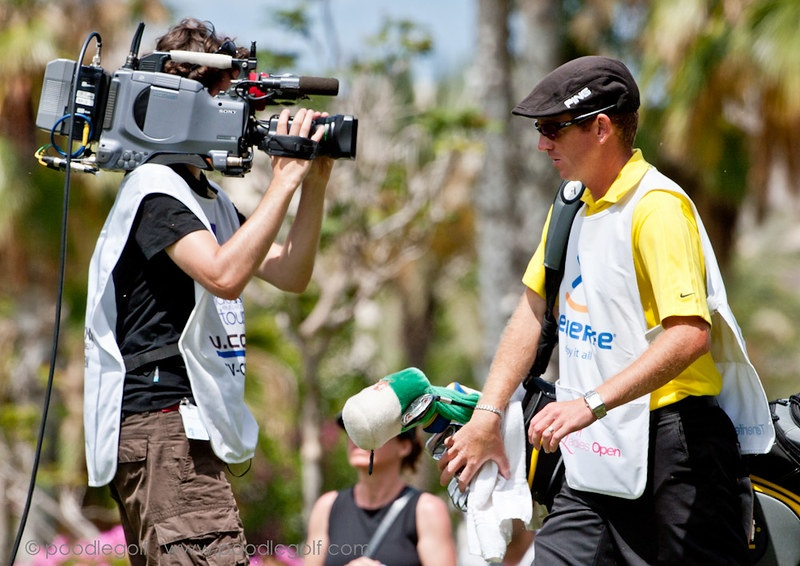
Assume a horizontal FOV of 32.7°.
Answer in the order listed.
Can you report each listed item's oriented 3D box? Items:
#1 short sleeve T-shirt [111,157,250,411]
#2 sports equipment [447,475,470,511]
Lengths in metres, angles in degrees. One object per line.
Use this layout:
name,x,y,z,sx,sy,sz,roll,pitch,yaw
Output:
short sleeve T-shirt,-1.596,0.144,8.892,0.604,1.454,0.227,7,4,-7
sports equipment,0.384,1.397,9.121,0.174,0.214,0.159,1,-3,28
